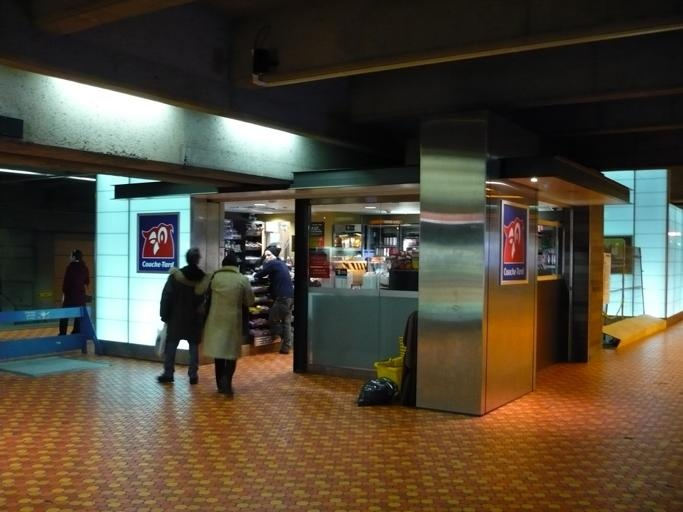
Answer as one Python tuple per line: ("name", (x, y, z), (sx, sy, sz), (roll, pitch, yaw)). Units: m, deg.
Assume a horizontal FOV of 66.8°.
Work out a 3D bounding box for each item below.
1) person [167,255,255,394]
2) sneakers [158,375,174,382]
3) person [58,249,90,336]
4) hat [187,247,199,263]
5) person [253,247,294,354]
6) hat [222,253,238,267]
("person", (-1.965, 0.898, 7.479), (1.417, 2.006, 0.640), (0, -1, 40))
("sneakers", (-2.640, 1.855, 7.798), (0.221, 0.098, 0.091), (5, -5, 5))
("person", (-5.354, 0.712, 10.387), (0.488, 1.664, 0.946), (1, -1, -25))
("hat", (-2.199, -0.013, 7.809), (0.181, 0.199, 0.208), (3, -9, 5))
("person", (-1.288, 0.853, 10.168), (0.644, 2.126, 0.430), (1, -1, -5))
("hat", (-1.591, 0.049, 7.409), (0.170, 0.165, 0.214), (4, -18, -7))
